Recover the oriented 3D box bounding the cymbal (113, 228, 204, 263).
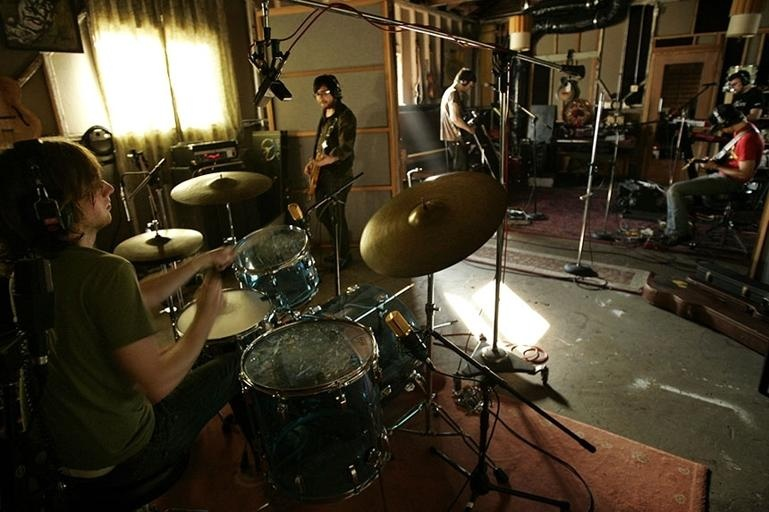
[{"bbox_3d":[-1.755,-0.084,4.619,0.401,0.110,0.401,20,30,23],"label":"cymbal"}]

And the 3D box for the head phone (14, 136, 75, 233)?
[{"bbox_3d":[-1.722,-0.353,2.986,0.191,0.463,0.232,-13,21,-30],"label":"head phone"}]

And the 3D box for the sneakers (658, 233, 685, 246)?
[{"bbox_3d":[3.174,-0.183,6.488,0.180,0.068,0.130,-28,36,-22],"label":"sneakers"}]

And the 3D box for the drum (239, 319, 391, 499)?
[{"bbox_3d":[-0.257,0.925,3.665,0.949,0.899,0.954,-4,14,29],"label":"drum"}]

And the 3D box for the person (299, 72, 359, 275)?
[{"bbox_3d":[-0.499,-0.824,5.967,0.590,1.963,1.552,-4,18,-7],"label":"person"}]

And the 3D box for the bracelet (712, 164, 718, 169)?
[{"bbox_3d":[3.560,-0.966,6.311,0.044,0.043,0.022,13,19,13],"label":"bracelet"}]

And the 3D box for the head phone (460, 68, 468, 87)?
[{"bbox_3d":[0.989,-2.252,7.368,0.137,0.188,0.230,-4,18,-5],"label":"head phone"}]

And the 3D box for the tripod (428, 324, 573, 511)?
[{"bbox_3d":[0.746,0.957,3.787,0.972,1.169,0.714,-1,18,3],"label":"tripod"}]

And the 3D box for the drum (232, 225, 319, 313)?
[{"bbox_3d":[-0.715,0.124,4.308,0.558,0.418,0.564,-7,35,5],"label":"drum"}]

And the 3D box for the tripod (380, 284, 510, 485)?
[{"bbox_3d":[0.416,0.849,3.638,0.869,1.091,0.793,14,32,25],"label":"tripod"}]

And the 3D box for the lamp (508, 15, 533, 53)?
[{"bbox_3d":[1.161,-1.961,5.149,0.235,0.250,0.229,-8,17,-17],"label":"lamp"}]

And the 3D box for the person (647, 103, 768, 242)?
[{"bbox_3d":[3.515,-0.873,6.362,0.901,1.487,0.524,6,20,22],"label":"person"}]

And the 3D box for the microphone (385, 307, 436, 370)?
[{"bbox_3d":[0.149,0.463,3.403,0.261,0.338,0.143,0,19,7],"label":"microphone"}]

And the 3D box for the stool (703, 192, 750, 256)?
[{"bbox_3d":[3.792,-0.512,6.541,0.435,0.586,0.563,5,7,41],"label":"stool"}]

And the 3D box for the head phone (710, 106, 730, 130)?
[{"bbox_3d":[3.589,-1.515,6.345,0.113,0.244,0.310,2,19,13],"label":"head phone"}]

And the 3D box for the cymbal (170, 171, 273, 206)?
[{"bbox_3d":[-1.284,-0.594,4.778,0.629,0.077,0.619,-11,29,-21],"label":"cymbal"}]
